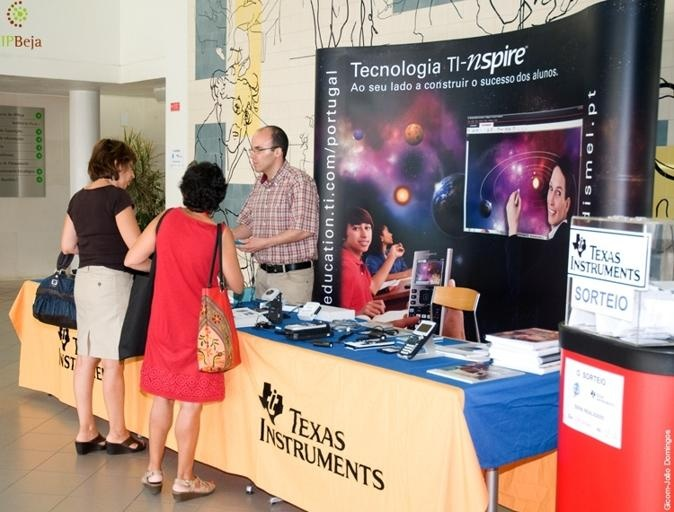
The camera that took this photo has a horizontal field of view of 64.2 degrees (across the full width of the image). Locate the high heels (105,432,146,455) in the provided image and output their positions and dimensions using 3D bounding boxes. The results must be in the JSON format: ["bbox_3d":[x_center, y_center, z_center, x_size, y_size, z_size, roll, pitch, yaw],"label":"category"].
[{"bbox_3d":[-1.383,1.209,3.555,0.217,0.112,0.125,0,1,-22],"label":"high heels"}]

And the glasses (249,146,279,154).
[{"bbox_3d":[-0.525,-0.745,3.743,0.230,0.046,0.098,5,9,30],"label":"glasses"}]

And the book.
[{"bbox_3d":[0.851,0.430,2.445,0.326,0.135,0.234,2,8,10],"label":"book"}]

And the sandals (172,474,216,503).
[{"bbox_3d":[-0.796,1.285,3.026,0.261,0.120,0.102,-5,8,-43],"label":"sandals"}]

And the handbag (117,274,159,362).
[{"bbox_3d":[-1.114,0.342,3.023,0.117,0.431,0.428,5,10,-7],"label":"handbag"}]

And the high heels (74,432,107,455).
[{"bbox_3d":[-1.605,1.242,3.521,0.085,0.102,0.231,4,9,37],"label":"high heels"}]

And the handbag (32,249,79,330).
[{"bbox_3d":[-2.327,0.256,4.430,0.464,0.718,0.274,11,11,30],"label":"handbag"}]

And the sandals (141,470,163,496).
[{"bbox_3d":[-1.027,1.262,3.008,0.069,0.078,0.161,0,6,-21],"label":"sandals"}]

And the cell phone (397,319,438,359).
[{"bbox_3d":[0.393,0.386,2.590,0.099,0.043,0.252,5,48,44],"label":"cell phone"}]
